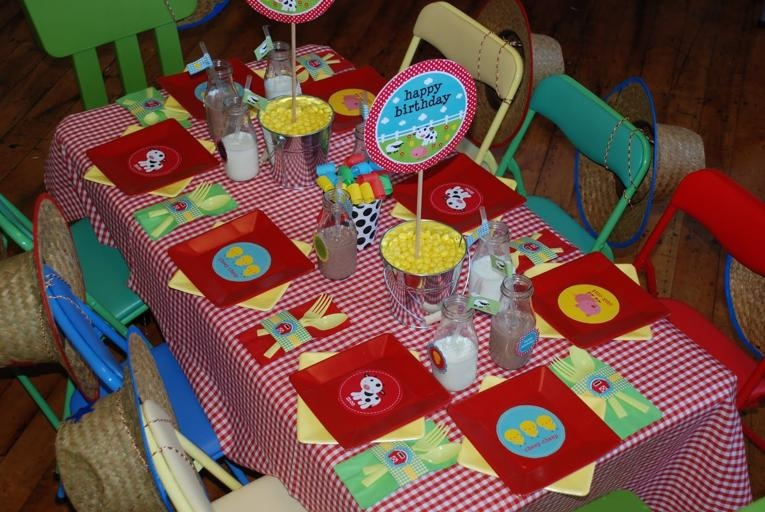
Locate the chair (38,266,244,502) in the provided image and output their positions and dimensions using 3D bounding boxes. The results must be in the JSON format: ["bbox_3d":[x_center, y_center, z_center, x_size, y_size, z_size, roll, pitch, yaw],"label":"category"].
[{"bbox_3d":[-0.721,0.371,2.014,0.471,0.681,0.407,-24,52,-23],"label":"chair"}]

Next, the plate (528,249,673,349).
[{"bbox_3d":[0.644,0.152,2.035,0.276,0.039,0.285,-22,50,-19],"label":"plate"}]

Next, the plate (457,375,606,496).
[{"bbox_3d":[0.410,0.469,1.797,0.356,0.082,0.343,-29,73,-14],"label":"plate"}]

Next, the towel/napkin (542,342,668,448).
[{"bbox_3d":[0.636,0.391,1.876,0.160,0.034,0.284,-28,52,-15],"label":"towel/napkin"}]

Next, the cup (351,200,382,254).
[{"bbox_3d":[-0.057,-0.113,2.175,0.132,0.148,0.129,0,28,0],"label":"cup"}]

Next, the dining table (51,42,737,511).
[{"bbox_3d":[-0.243,0.118,1.937,1.053,0.393,1.821,-30,59,-23],"label":"dining table"}]

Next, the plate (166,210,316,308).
[{"bbox_3d":[-0.468,0.008,2.141,0.323,0.046,0.338,-29,56,-22],"label":"plate"}]

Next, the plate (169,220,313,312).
[{"bbox_3d":[-0.460,0.022,2.131,0.315,0.046,0.335,-31,57,-24],"label":"plate"}]

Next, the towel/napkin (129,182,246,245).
[{"bbox_3d":[-0.683,-0.174,2.264,0.310,0.045,0.169,-24,52,-22],"label":"towel/napkin"}]

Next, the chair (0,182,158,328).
[{"bbox_3d":[-1.023,0.004,2.250,0.283,0.430,0.251,-31,75,-10],"label":"chair"}]

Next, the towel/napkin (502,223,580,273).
[{"bbox_3d":[0.518,-0.023,2.197,0.140,0.017,0.150,-21,44,-15],"label":"towel/napkin"}]

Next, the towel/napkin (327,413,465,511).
[{"bbox_3d":[0.045,0.558,1.754,0.267,0.045,0.167,-27,56,-17],"label":"towel/napkin"}]

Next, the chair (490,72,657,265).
[{"bbox_3d":[0.781,-0.343,2.702,0.495,0.827,0.619,40,84,10],"label":"chair"}]

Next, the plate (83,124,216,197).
[{"bbox_3d":[-0.845,-0.356,2.427,0.318,0.045,0.326,-27,52,-22],"label":"plate"}]

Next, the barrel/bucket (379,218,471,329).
[{"bbox_3d":[0.147,0.031,2.069,0.266,0.252,0.295,31,50,27],"label":"barrel/bucket"}]

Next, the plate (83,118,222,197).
[{"bbox_3d":[-0.851,-0.354,2.425,0.322,0.046,0.330,-28,53,-22],"label":"plate"}]

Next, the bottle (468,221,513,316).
[{"bbox_3d":[0.314,0.045,1.918,0.112,0.291,0.122,1,38,-1],"label":"bottle"}]

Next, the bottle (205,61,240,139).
[{"bbox_3d":[-0.599,-0.568,2.427,0.128,0.325,0.132,5,43,-5],"label":"bottle"}]

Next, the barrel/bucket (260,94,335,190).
[{"bbox_3d":[-0.300,-0.410,2.454,0.290,0.279,0.319,2,44,-2],"label":"barrel/bucket"}]

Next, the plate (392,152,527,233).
[{"bbox_3d":[0.270,-0.202,2.325,0.308,0.077,0.313,-29,53,-25],"label":"plate"}]

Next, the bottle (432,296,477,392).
[{"bbox_3d":[0.201,0.254,1.828,0.119,0.247,0.117,-1,40,1],"label":"bottle"}]

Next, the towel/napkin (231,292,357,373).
[{"bbox_3d":[-0.274,0.227,1.995,0.291,0.044,0.164,-28,58,-18],"label":"towel/napkin"}]
